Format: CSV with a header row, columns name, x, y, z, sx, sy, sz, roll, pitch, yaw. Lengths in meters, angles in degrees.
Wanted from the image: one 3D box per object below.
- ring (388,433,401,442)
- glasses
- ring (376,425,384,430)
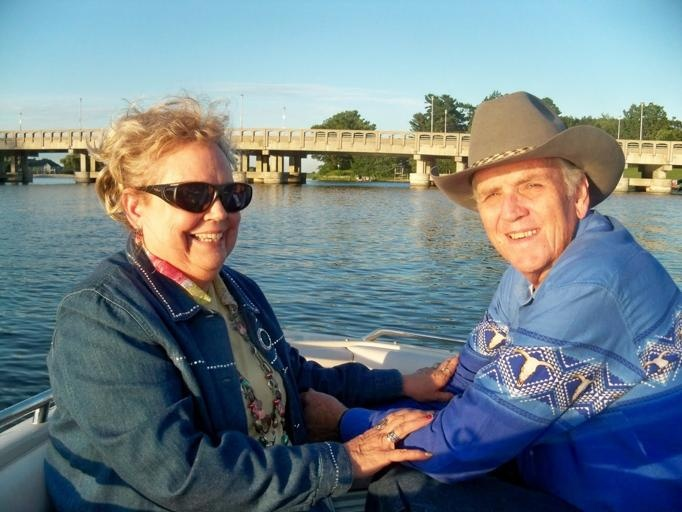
name,x,y,z,sx,sy,sz,roll,pitch,yaw
ring,0.226,0.770,2.917,0.018,0.033,0.045,-46,28,-19
glasses,-0.580,-0.246,2.810,0.241,0.062,0.239,0,0,37
ring,0.170,0.753,3.008,0.022,0.004,0.020,-18,10,3
